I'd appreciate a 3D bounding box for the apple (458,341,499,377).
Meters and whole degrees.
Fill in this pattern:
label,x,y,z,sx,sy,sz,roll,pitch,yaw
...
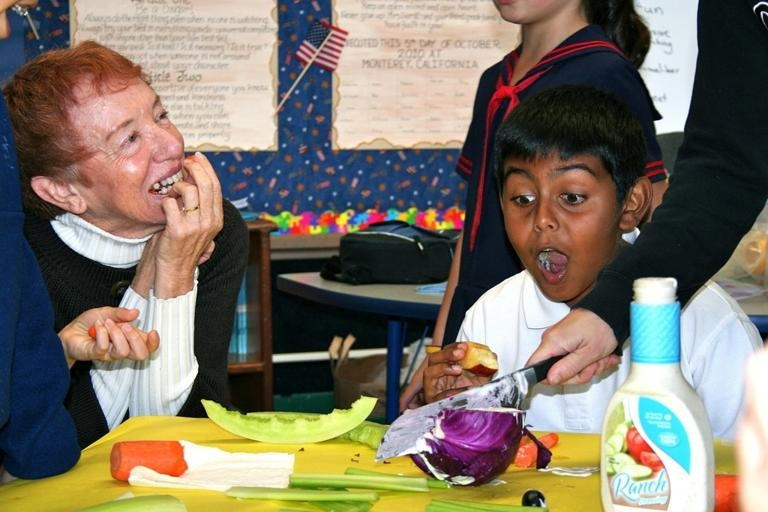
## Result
label,x,y,z,sx,sy,sz,roll,pitch,yaw
apple,0.232,0.247,2.096,0.079,0.083,0.034,18,-17,-1

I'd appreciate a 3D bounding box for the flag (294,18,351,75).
label,x,y,z,sx,sy,sz,roll,pitch,yaw
flag,-0.353,-1.205,4.945,0.313,0.283,0.070,-4,11,-3

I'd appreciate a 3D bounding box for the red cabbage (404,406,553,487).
label,x,y,z,sx,sy,sz,roll,pitch,yaw
red cabbage,0.211,0.372,1.871,0.176,0.148,0.288,-4,7,-34

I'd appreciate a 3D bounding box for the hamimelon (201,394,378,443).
label,x,y,z,sx,sy,sz,roll,pitch,yaw
hamimelon,-0.276,0.462,2.479,0.528,0.158,0.094,1,-19,-2

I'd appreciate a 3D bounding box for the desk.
label,x,y,z,sx,sy,sz,roll,pitch,yaw
desk,-0.071,0.265,3.570,0.611,0.597,0.607,-2,9,-23
